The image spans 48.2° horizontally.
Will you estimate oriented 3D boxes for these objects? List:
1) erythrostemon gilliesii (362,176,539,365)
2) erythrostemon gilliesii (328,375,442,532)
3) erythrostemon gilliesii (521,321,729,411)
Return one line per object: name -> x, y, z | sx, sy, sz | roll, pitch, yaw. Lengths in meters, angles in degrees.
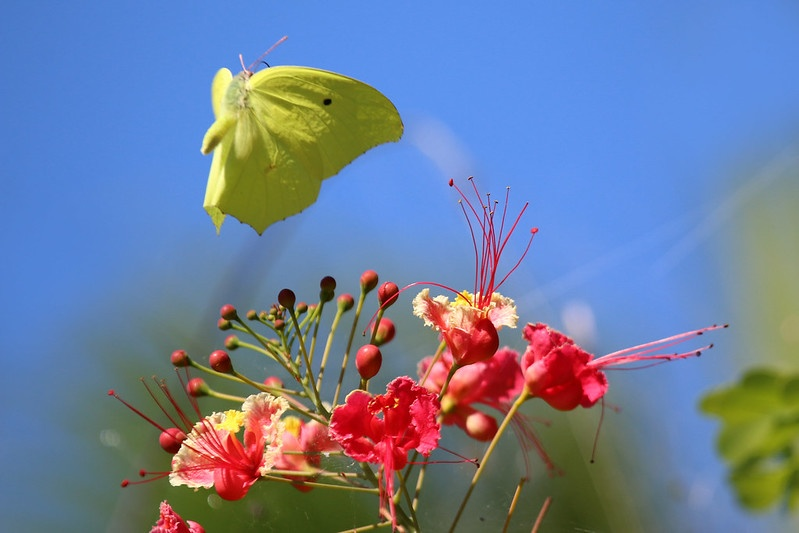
erythrostemon gilliesii -> 0.253, 0.106, 3.390 | 0.409, 0.934, 0.339 | 0, 8, -1
erythrostemon gilliesii -> -0.062, 0.637, 3.118 | 0.381, 0.496, 0.157 | 4, -11, -5
erythrostemon gilliesii -> 0.888, 0.361, 3.345 | 0.747, 0.363, 0.426 | -4, 6, 16
